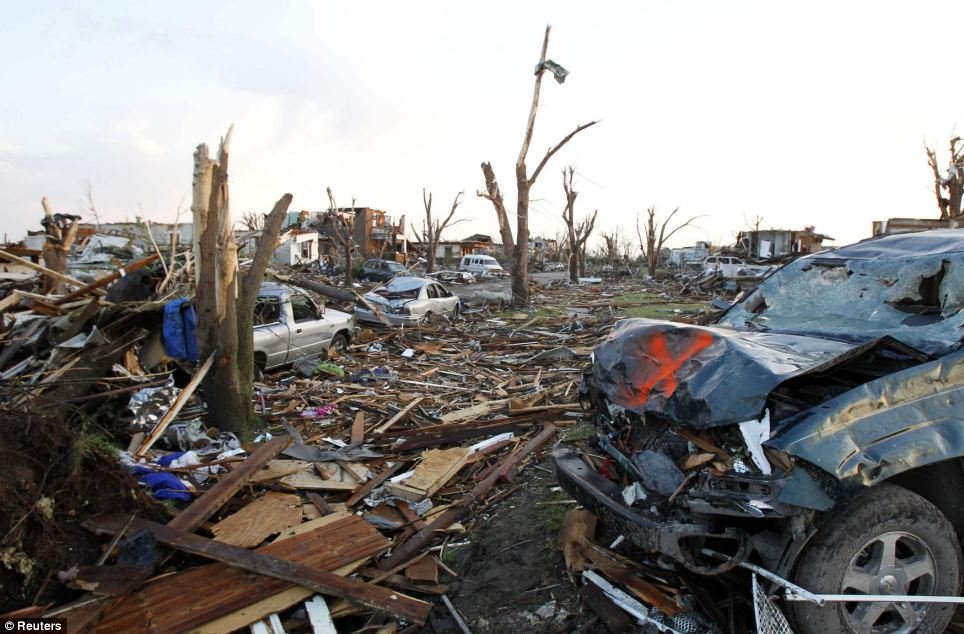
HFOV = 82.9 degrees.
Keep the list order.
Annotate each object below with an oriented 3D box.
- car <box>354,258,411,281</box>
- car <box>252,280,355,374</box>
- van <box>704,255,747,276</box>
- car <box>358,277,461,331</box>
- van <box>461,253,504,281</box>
[{"bbox_3d":[-5.641,-2.532,30.592,1.600,1.191,3.400,-4,5,-36],"label":"car"},{"bbox_3d":[-3.573,0.219,10.435,0.779,1.576,2.552,0,4,13],"label":"car"},{"bbox_3d":[15.077,-3.143,33.987,2.811,1.250,1.478,-7,22,1],"label":"van"},{"bbox_3d":[-2.020,-0.361,15.185,1.215,0.735,2.684,7,14,30],"label":"car"},{"bbox_3d":[-0.091,-3.657,40.218,2.997,1.258,1.823,6,11,39],"label":"van"}]
